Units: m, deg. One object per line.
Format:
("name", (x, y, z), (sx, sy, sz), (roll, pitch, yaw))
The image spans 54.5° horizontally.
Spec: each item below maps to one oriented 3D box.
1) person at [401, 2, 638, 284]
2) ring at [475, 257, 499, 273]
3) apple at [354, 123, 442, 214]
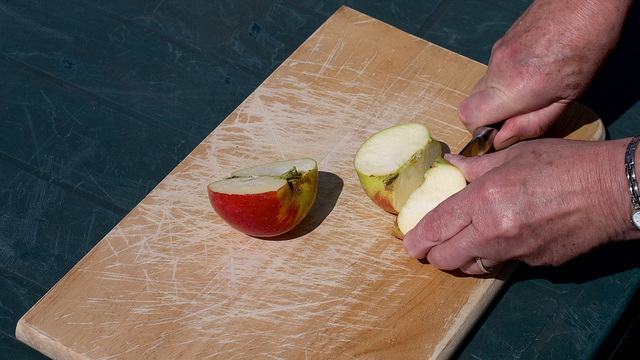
("person", (0.914, 0.026, 2.946), (0.855, 0.799, 1.617), (0, 94, -8))
("ring", (0.772, 0.390, 2.887), (0.089, 0.032, 0.076), (31, 36, -1))
("apple", (0.363, -0.078, 3.186), (0.432, 0.266, 0.426), (-31, 50, -5))
